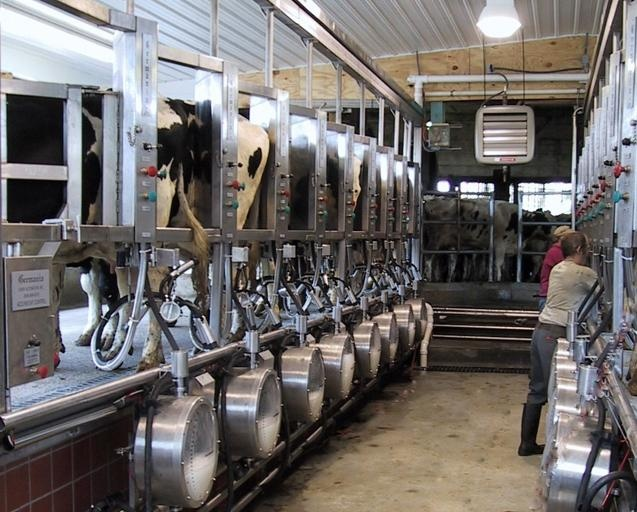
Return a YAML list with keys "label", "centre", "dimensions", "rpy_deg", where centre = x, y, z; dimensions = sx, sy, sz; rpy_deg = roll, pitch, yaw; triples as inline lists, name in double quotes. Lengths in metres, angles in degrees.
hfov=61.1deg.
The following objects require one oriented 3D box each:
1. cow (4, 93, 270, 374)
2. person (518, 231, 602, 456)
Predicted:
- label: "cow"
  centre: [-0.905, -0.118, 3.076]
  dimensions: [0.777, 1.601, 1.609]
  rpy_deg: [2, 4, 30]
- label: "person"
  centre: [1.662, 0.653, 3.769]
  dimensions: [0.469, 1.636, 0.421]
  rpy_deg: [1, 4, 22]
